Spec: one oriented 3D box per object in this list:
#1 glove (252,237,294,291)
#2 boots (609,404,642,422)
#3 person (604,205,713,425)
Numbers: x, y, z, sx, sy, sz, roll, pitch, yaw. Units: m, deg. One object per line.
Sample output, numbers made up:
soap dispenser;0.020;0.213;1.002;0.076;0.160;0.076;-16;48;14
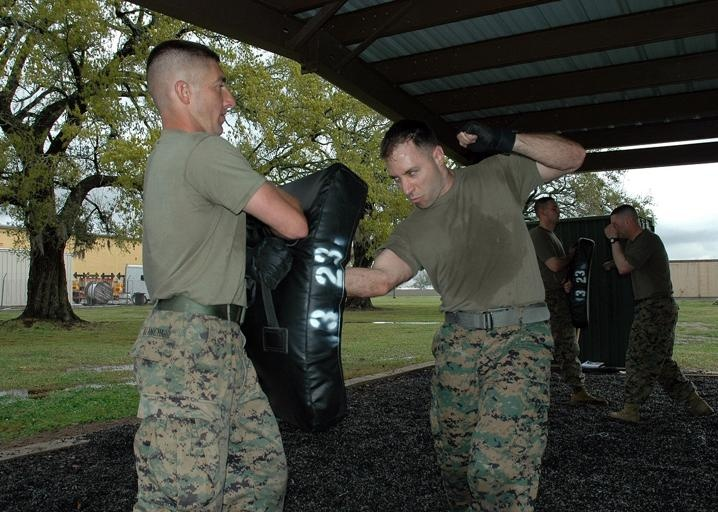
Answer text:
glove;-0.483;0.054;2.964;0.207;0.288;0.102;15;1;21
boots;2.958;1.735;5.824;0.312;0.192;0.197;-2;-3;20
person;3.397;0.600;6.042;0.938;2.465;0.884;-3;-3;32
